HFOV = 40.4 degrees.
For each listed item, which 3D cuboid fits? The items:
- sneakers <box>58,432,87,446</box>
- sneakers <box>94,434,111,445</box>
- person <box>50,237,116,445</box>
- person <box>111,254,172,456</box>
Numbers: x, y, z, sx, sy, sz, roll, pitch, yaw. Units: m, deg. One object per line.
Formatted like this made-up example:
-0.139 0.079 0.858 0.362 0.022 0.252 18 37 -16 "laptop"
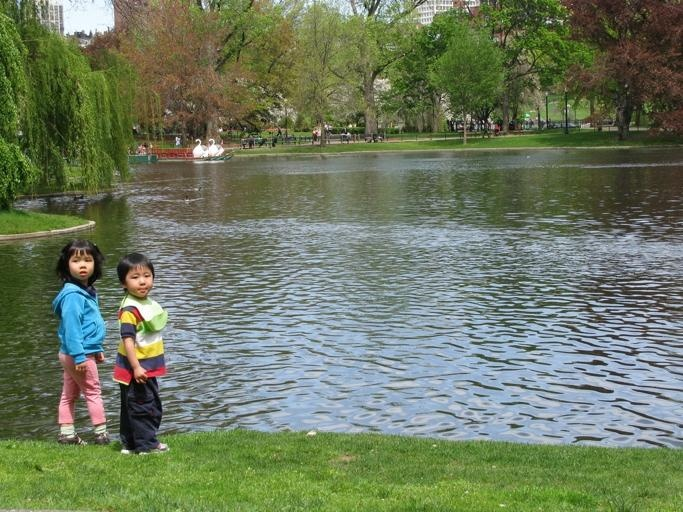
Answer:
-3.536 2.365 12.074 0.474 0.190 0.153 1 11 -8 "sneakers"
-3.087 2.343 12.052 0.201 0.189 0.119 -3 8 -4 "sneakers"
-3.322 1.101 11.833 0.649 2.626 0.526 -3 4 -11 "person"
-2.486 1.192 11.522 0.648 2.447 0.426 -3 4 -14 "person"
